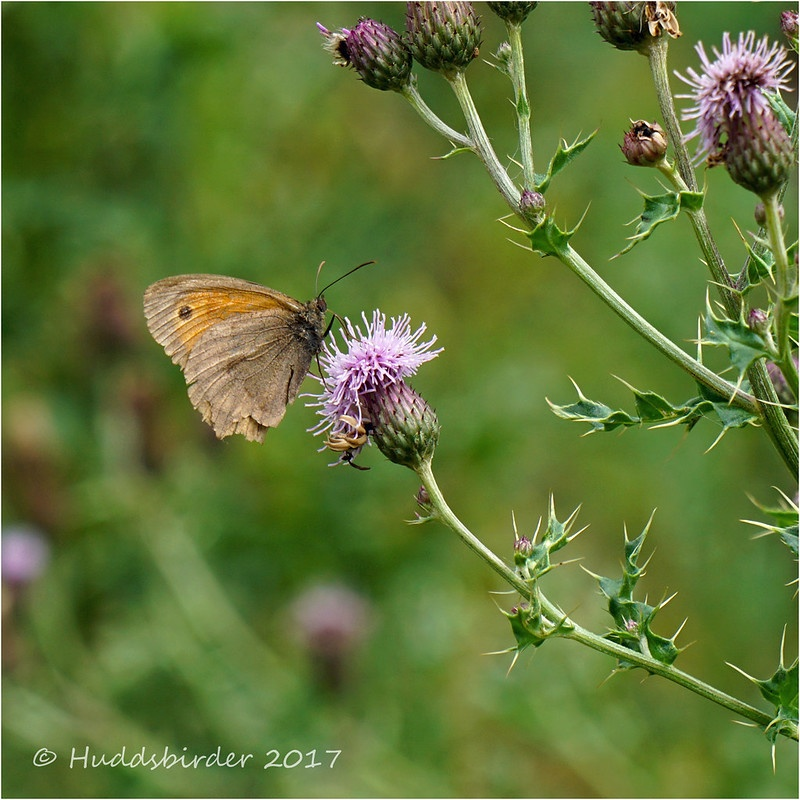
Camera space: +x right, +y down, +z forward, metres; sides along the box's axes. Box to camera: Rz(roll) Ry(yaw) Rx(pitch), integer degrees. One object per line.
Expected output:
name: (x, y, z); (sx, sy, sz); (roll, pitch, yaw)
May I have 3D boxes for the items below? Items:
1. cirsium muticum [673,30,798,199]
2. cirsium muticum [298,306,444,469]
cirsium muticum: (1.259, -1.032, 3.615); (0.472, 0.489, 0.324); (37, 37, 30)
cirsium muticum: (-0.173, -0.047, 4.823); (0.484, 0.607, 0.409); (-34, 35, -21)
